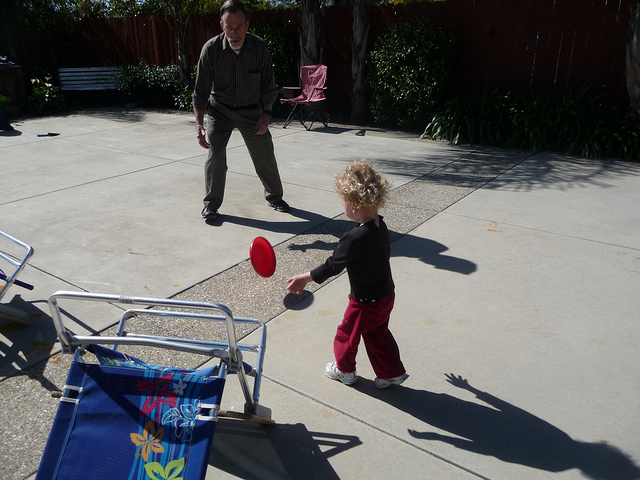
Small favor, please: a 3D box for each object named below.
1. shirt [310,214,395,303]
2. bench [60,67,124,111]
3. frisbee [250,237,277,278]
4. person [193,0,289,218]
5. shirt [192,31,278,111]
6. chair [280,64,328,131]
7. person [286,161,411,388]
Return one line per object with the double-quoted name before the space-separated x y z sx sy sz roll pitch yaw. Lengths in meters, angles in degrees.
"shirt" 0.231 0.163 3.227 0.615 0.417 0.338 -29 31 -20
"bench" -6.906 -4.487 13.107 1.872 1.189 0.693 -6 56 -12
"frisbee" -0.373 0.135 2.986 0.112 0.303 0.207 -19 31 -38
"person" -0.962 -1.472 5.159 1.065 2.325 0.600 -5 25 -14
"shirt" -0.996 -1.938 5.138 1.015 0.856 0.474 -3 28 -13
"chair" -0.343 -3.248 10.047 0.959 1.332 1.035 21 30 40
"person" 0.265 0.261 2.793 0.752 1.412 0.392 2 24 3
